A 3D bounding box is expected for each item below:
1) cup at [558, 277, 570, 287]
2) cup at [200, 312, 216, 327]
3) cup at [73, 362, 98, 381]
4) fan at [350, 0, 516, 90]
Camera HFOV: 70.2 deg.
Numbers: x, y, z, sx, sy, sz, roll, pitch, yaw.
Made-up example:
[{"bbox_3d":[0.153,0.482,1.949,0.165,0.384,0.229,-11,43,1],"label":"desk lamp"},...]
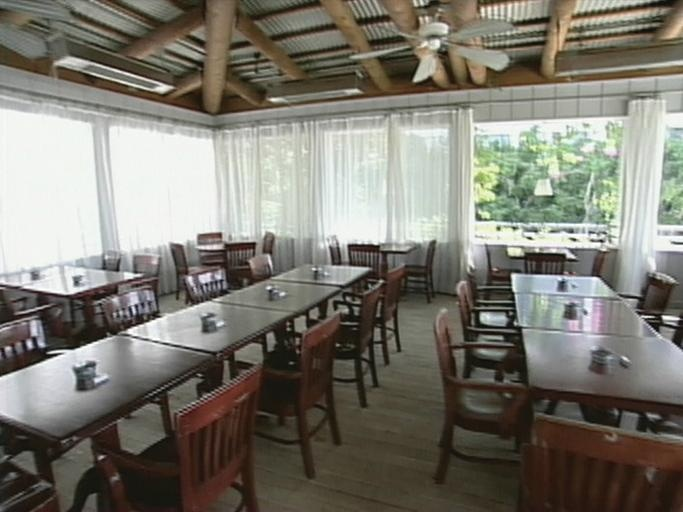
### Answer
[{"bbox_3d":[1.971,0.241,4.351,0.095,0.087,0.088,-1,13,0],"label":"cup"},{"bbox_3d":[-0.953,0.466,3.532,0.116,0.092,0.101,6,-22,-40],"label":"cup"},{"bbox_3d":[-1.523,0.670,2.900,0.128,0.103,0.199,-7,10,-29],"label":"cup"},{"bbox_3d":[0.939,-1.954,4.426,1.303,0.306,1.173,0,0,-42],"label":"fan"}]
